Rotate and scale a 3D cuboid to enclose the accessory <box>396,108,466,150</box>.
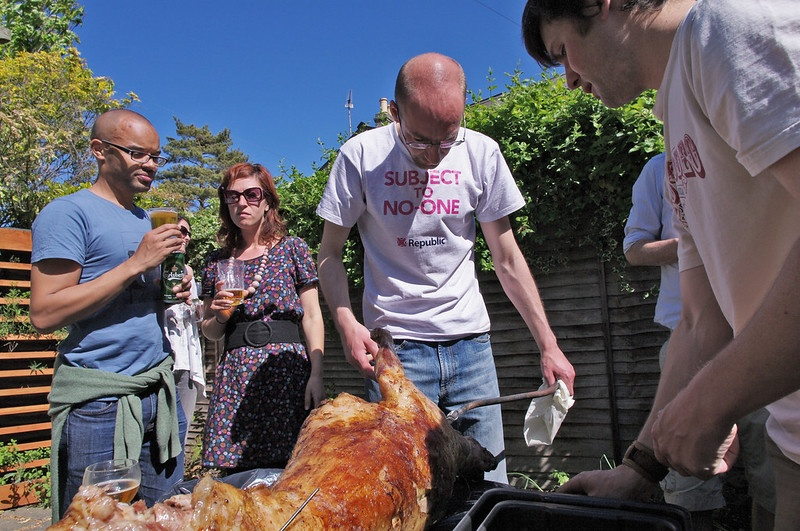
[{"bbox_3d":[0.213,-0.781,3.620,0.403,0.209,0.199,-10,-8,-6],"label":"accessory"}]

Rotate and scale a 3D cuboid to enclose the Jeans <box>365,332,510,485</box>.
[{"bbox_3d":[0.367,0.927,3.761,0.473,1.078,0.299,-18,2,6],"label":"Jeans"}]

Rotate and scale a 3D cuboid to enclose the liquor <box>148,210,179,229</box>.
[{"bbox_3d":[-1.527,-0.312,3.934,0.122,0.118,0.144,-1,-14,0],"label":"liquor"}]

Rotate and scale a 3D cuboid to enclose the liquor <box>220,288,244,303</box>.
[{"bbox_3d":[-1.089,0.192,4.004,0.088,0.077,0.100,2,-8,-15],"label":"liquor"}]

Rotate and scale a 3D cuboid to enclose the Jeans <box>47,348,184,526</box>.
[{"bbox_3d":[-1.749,1.021,3.985,0.720,1.013,0.614,-4,6,-17],"label":"Jeans"}]

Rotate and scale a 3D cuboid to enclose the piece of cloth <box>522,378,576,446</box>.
[{"bbox_3d":[0.939,0.907,3.698,0.300,0.157,0.418,-23,-9,-11],"label":"piece of cloth"}]
